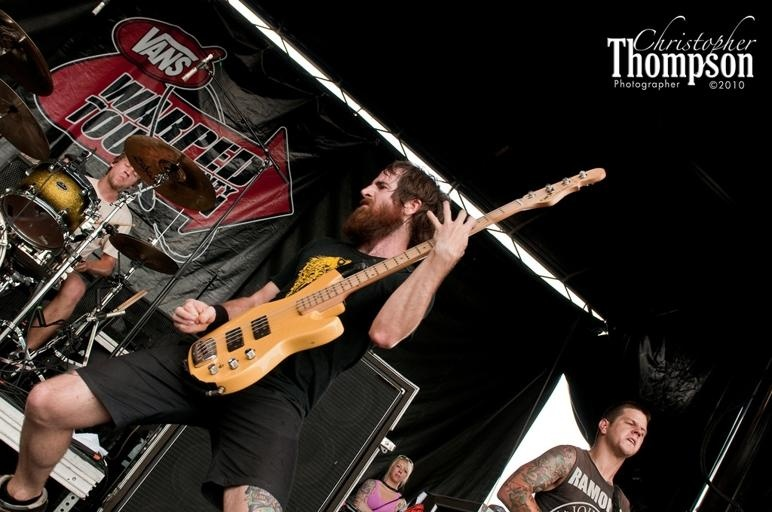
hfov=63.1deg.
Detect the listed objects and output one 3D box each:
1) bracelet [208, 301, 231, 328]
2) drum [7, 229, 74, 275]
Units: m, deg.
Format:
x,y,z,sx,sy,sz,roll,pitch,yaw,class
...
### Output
x,y,z,sx,sy,sz,roll,pitch,yaw,class
-1.303,0.459,4.930,0.120,0.169,0.169,1,-28,-5,bracelet
-3.304,-0.004,5.907,0.423,0.152,0.407,37,4,-3,drum
